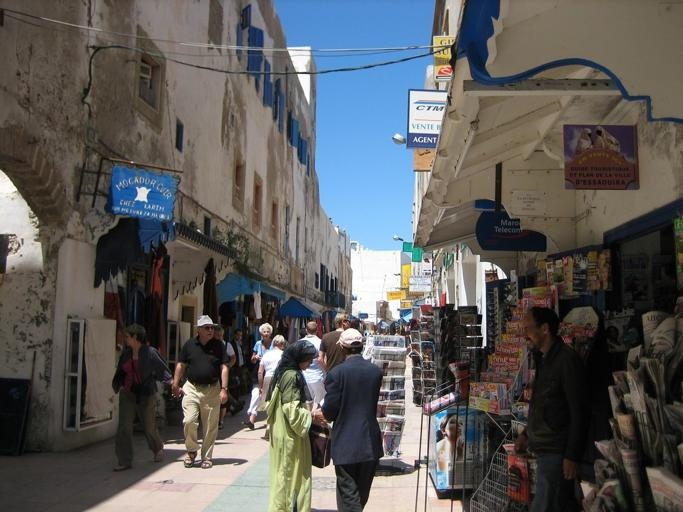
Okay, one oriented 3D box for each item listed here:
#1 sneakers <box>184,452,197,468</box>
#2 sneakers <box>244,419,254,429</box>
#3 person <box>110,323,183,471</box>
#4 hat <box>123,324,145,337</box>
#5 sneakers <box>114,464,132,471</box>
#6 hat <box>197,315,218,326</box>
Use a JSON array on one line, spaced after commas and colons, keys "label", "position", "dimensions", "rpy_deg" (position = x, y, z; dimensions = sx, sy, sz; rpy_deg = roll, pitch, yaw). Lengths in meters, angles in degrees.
[{"label": "sneakers", "position": [-2.097, 2.775, 8.758], "dimensions": [0.165, 0.191, 0.299], "rpy_deg": [3, -5, -17]}, {"label": "sneakers", "position": [-1.699, 3.128, 11.827], "dimensions": [0.084, 0.110, 0.249], "rpy_deg": [-6, -50, 45]}, {"label": "person", "position": [-2.765, 1.892, 8.731], "dimensions": [0.713, 1.882, 0.519], "rpy_deg": [4, -5, -36]}, {"label": "hat", "position": [-2.879, 1.019, 8.864], "dimensions": [0.185, 0.196, 0.168], "rpy_deg": [10, 14, 20]}, {"label": "sneakers", "position": [-2.889, 2.773, 8.386], "dimensions": [0.238, 0.119, 0.083], "rpy_deg": [11, -8, -32]}, {"label": "hat", "position": [-1.967, 0.924, 9.038], "dimensions": [0.315, 0.151, 0.370], "rpy_deg": [7, -14, -24]}]
